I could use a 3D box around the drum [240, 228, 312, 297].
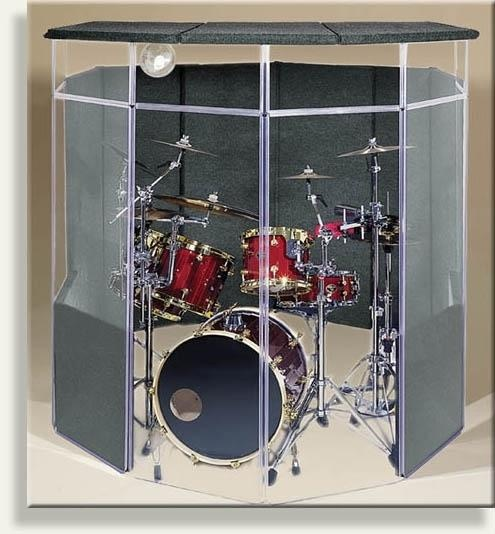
[{"bbox_3d":[0.128,-0.016,3.667,0.360,0.347,0.250,3,-94,-26],"label":"drum"}]

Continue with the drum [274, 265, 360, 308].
[{"bbox_3d":[0.388,0.142,3.853,0.257,0.322,0.123,16,-106,-24],"label":"drum"}]

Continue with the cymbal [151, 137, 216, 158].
[{"bbox_3d":[-0.374,-0.718,4.152,0.197,0.190,0.058,17,-81,-20],"label":"cymbal"}]

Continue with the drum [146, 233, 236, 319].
[{"bbox_3d":[-0.357,0.081,3.967,0.481,0.464,0.328,20,-87,-21],"label":"drum"}]

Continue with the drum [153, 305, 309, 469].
[{"bbox_3d":[-0.081,0.653,3.573,0.869,0.505,0.792,3,-81,22],"label":"drum"}]

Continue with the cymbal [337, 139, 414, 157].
[{"bbox_3d":[0.710,-0.658,3.797,0.217,0.212,0.058,-17,-72,-32],"label":"cymbal"}]
